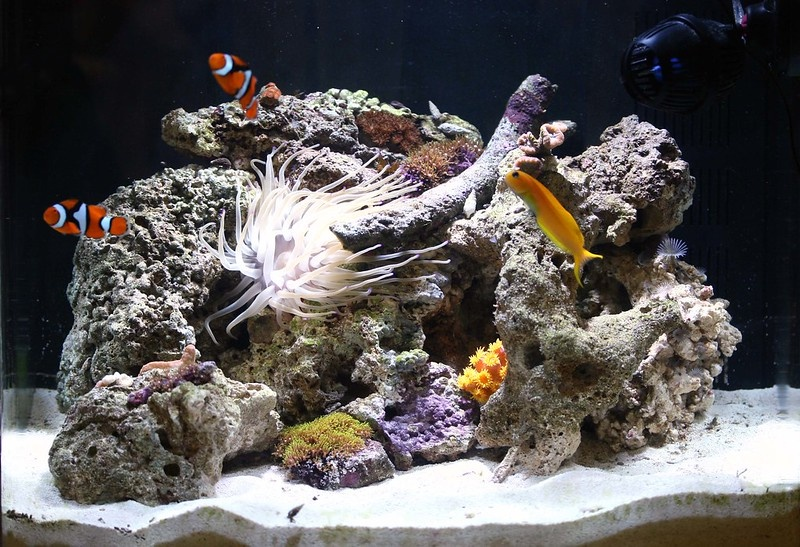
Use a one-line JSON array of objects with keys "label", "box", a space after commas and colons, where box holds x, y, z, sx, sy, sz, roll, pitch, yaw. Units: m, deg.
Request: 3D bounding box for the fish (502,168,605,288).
[{"label": "fish", "box": [0.940, -0.293, 5.494, 0.309, 0.857, 0.153, -40, 7, 7]}]

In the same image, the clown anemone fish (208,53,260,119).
[{"label": "clown anemone fish", "box": [-0.977, -1.085, 5.085, 0.286, 0.352, 0.197, -2, 12, -21]}]
